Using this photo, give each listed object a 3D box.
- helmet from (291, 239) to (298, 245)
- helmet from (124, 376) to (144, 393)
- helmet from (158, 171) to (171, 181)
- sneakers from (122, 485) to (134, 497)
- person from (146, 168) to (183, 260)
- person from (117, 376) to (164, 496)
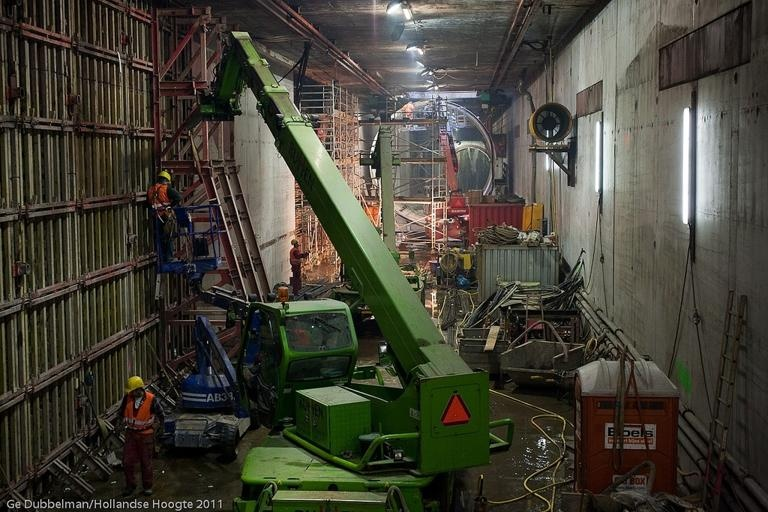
[{"bbox_3d":[-3.306,-0.560,28.001,0.218,0.082,0.244,-6,10,-13],"label":"helmet"},{"bbox_3d":[-4.853,2.493,14.646,0.282,0.301,0.258,-2,7,-13],"label":"helmet"},{"bbox_3d":[-5.332,-2.009,18.392,0.208,0.225,0.284,15,20,3],"label":"helmet"},{"bbox_3d":[-4.971,4.611,14.659,0.123,0.144,0.356,1,16,-5],"label":"sneakers"},{"bbox_3d":[-5.353,-1.012,18.308,0.630,2.220,0.913,-6,8,-41],"label":"person"},{"bbox_3d":[-4.828,3.468,14.935,0.744,2.310,1.106,-3,7,-22],"label":"person"}]
